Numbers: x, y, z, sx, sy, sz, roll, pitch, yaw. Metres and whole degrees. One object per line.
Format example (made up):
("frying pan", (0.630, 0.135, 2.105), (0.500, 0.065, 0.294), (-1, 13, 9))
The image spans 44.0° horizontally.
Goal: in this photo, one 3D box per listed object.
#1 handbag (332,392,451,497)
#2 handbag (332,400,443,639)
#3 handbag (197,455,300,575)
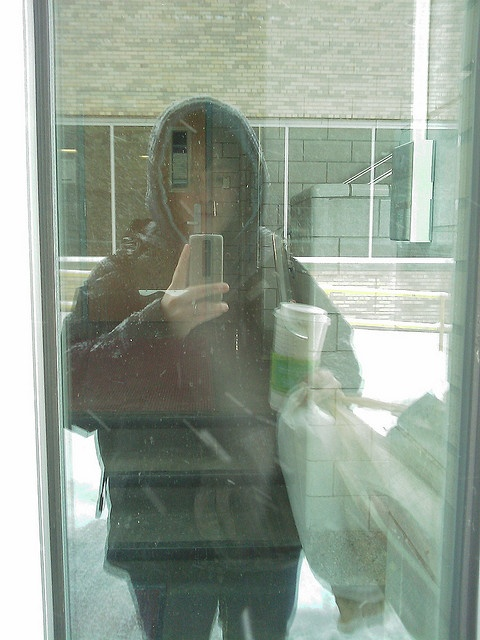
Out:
("handbag", (0.343, 0.256, 1.337), (0.225, 0.186, 0.115), (16, 13, 31))
("handbag", (0.370, 0.427, 1.387), (0.303, 0.526, 0.128), (2, 2, 40))
("handbag", (0.025, 0.473, 1.424), (0.205, 0.248, 0.056), (-9, 1, -16))
